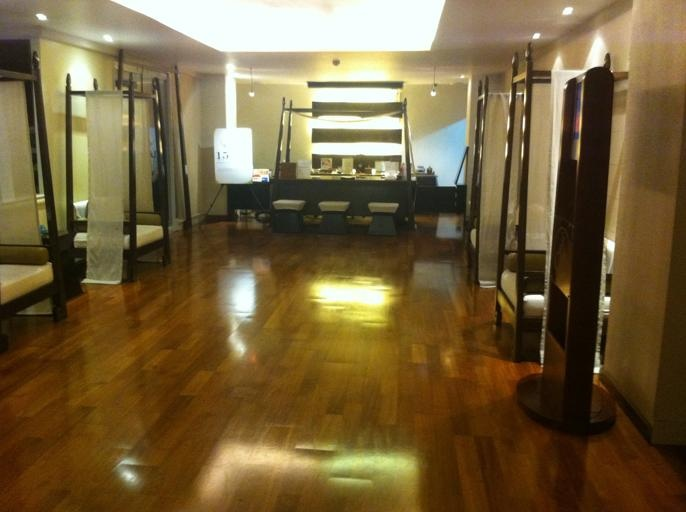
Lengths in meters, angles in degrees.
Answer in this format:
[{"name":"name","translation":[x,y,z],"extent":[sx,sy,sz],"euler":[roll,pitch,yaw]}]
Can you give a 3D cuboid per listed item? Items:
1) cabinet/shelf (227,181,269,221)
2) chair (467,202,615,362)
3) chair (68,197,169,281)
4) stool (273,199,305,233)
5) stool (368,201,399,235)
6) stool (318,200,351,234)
[{"name":"cabinet/shelf","translation":[-1.754,-0.979,9.539],"extent":[0.745,0.609,0.928],"euler":[0,14,0]},{"name":"chair","translation":[1.553,0.224,3.964],"extent":[0.634,0.718,1.108],"euler":[2,25,8]},{"name":"chair","translation":[-2.526,-0.376,5.892],"extent":[0.943,1.023,0.966],"euler":[3,14,12]},{"name":"stool","translation":[-0.876,-0.609,8.598],"extent":[0.520,0.494,0.465],"euler":[3,17,5]},{"name":"stool","translation":[0.630,-0.587,8.275],"extent":[0.482,0.509,0.480],"euler":[0,5,3]},{"name":"stool","translation":[-0.132,-0.607,8.386],"extent":[0.487,0.506,0.467],"euler":[0,3,2]}]
